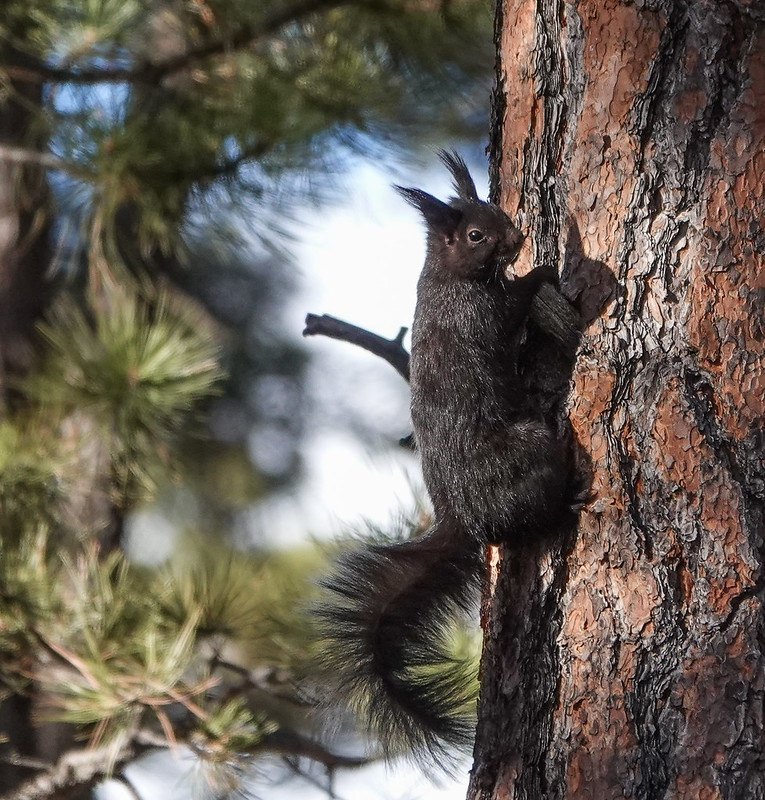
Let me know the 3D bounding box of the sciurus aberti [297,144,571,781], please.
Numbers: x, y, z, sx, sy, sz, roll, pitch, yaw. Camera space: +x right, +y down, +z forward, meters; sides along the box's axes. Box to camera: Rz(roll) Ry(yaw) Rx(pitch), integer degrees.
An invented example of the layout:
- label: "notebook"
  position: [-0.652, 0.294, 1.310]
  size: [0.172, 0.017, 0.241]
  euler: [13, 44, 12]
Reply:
- label: "sciurus aberti"
  position: [0.247, 0.239, 5.318]
  size: [0.398, 1.748, 0.912]
  euler: [9, 0, -33]
